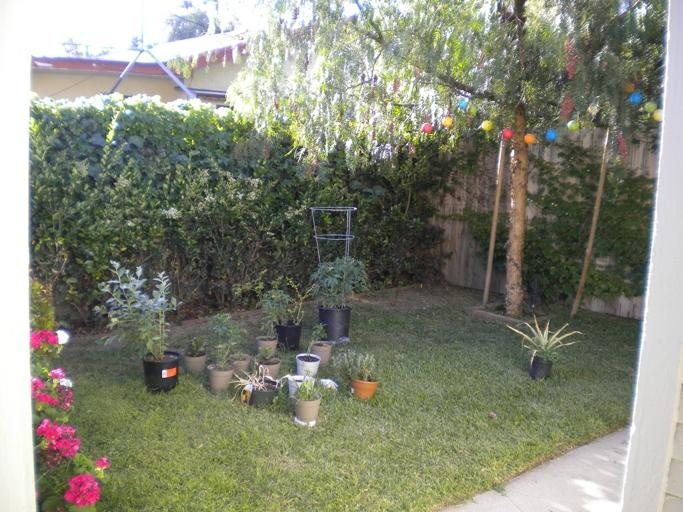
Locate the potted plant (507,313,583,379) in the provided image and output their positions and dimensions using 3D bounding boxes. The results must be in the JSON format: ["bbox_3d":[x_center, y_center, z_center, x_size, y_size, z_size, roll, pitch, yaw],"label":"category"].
[{"bbox_3d":[1.978,0.923,5.673,0.629,0.500,0.607,3,2,-45],"label":"potted plant"}]

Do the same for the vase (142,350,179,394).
[{"bbox_3d":[-1.529,1.000,4.754,0.258,0.314,0.272,1,3,4],"label":"vase"}]

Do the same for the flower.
[{"bbox_3d":[-2.018,0.574,5.312,0.681,1.105,0.840,1,-7,1],"label":"flower"}]
